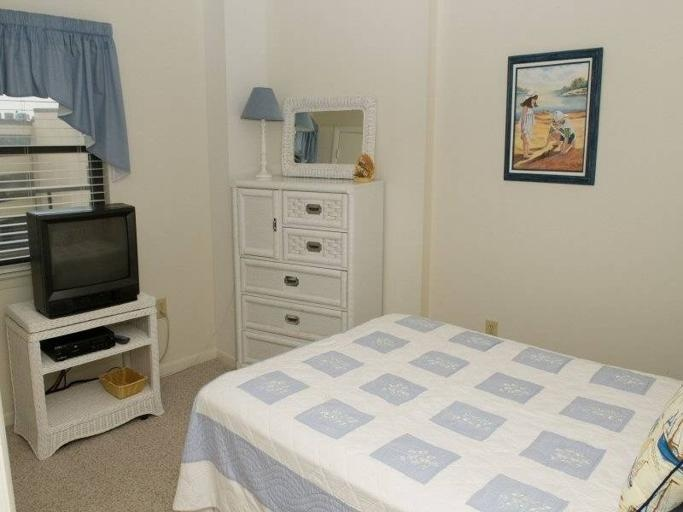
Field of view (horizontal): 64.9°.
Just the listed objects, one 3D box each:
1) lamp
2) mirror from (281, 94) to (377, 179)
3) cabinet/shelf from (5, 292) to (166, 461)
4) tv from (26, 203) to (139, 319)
[{"bbox_3d":[-0.558,-0.901,3.949,0.313,0.628,0.431,8,17,24],"label":"lamp"},{"bbox_3d":[-0.069,-0.859,3.857,0.644,0.524,0.032,3,6,20],"label":"mirror"},{"bbox_3d":[-1.565,0.734,3.224,0.464,0.847,0.805,8,13,41],"label":"cabinet/shelf"},{"bbox_3d":[-1.565,0.045,3.198,0.352,0.706,0.619,4,9,43],"label":"tv"}]
